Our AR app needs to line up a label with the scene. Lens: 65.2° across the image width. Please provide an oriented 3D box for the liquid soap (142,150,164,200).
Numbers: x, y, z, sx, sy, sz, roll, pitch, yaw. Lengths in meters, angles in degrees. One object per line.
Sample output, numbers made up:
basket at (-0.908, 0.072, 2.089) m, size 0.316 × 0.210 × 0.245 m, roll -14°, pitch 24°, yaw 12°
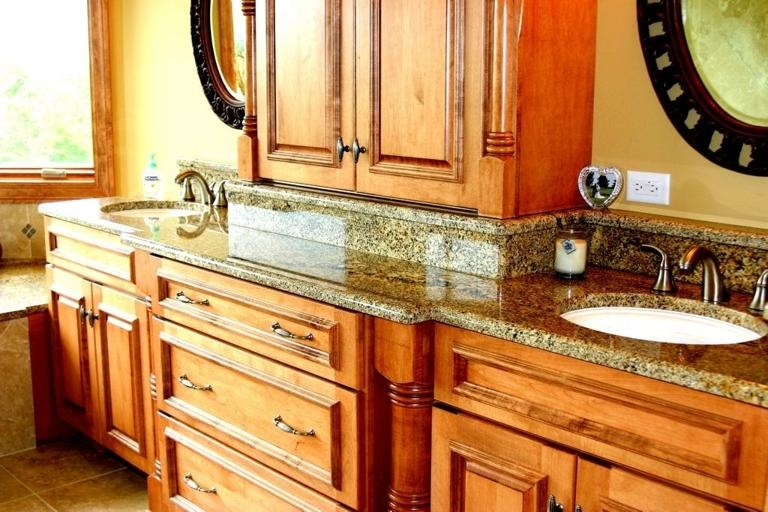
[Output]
liquid soap at (-1.273, -0.433, 3.312) m, size 0.094 × 0.233 × 0.154 m, roll -8°, pitch 18°, yaw -26°

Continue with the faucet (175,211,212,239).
faucet at (-0.844, -0.127, 2.711) m, size 0.118 × 0.041 × 0.165 m, roll 12°, pitch 26°, yaw 17°

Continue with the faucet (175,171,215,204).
faucet at (-1.002, -0.370, 3.209) m, size 0.184 × 0.192 × 0.344 m, roll -5°, pitch 17°, yaw -16°

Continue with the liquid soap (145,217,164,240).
liquid soap at (-1.002, -0.112, 2.630) m, size 0.040 × 0.095 × 0.039 m, roll -4°, pitch 20°, yaw -2°
